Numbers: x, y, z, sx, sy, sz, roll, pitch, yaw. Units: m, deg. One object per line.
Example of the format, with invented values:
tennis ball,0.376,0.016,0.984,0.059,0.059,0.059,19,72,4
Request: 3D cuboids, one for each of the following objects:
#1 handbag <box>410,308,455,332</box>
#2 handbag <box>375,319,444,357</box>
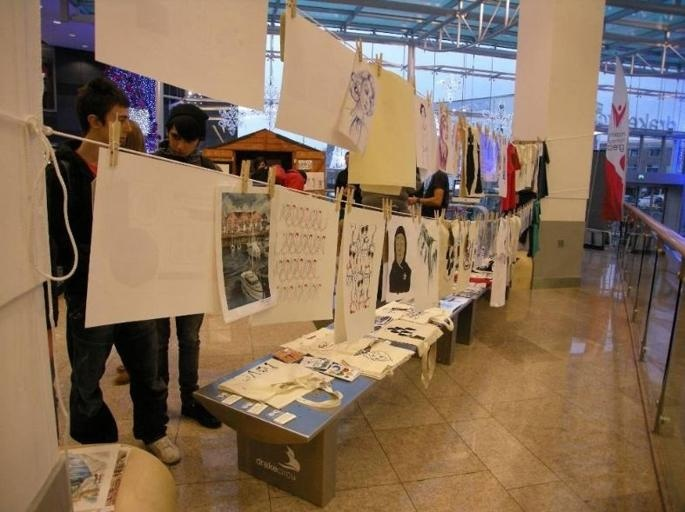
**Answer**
handbag,0.714,0.473,3.977,0.270,0.099,0.263,16,13,36
handbag,0.456,0.535,3.550,0.236,0.084,0.329,9,13,23
